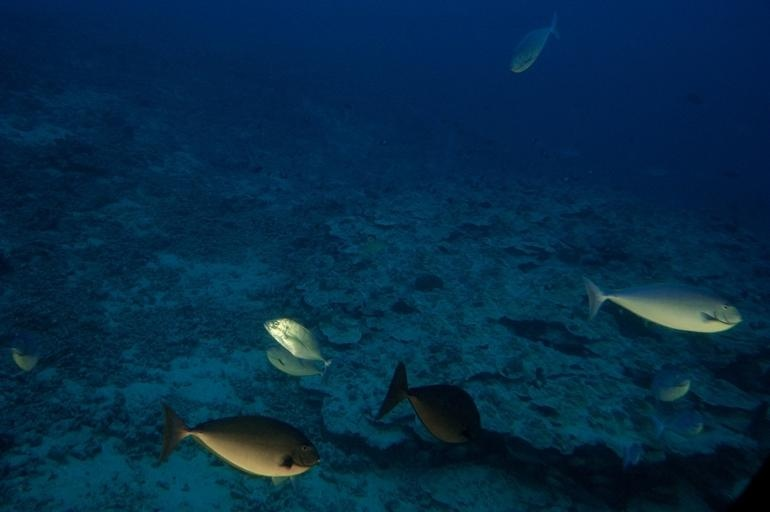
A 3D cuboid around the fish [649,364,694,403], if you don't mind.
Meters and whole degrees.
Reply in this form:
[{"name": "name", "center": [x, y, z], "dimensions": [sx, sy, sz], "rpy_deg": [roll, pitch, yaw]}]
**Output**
[{"name": "fish", "center": [4.336, 1.891, 8.912], "dimensions": [0.524, 0.522, 0.300], "rpy_deg": [-12, -68, 47]}]
